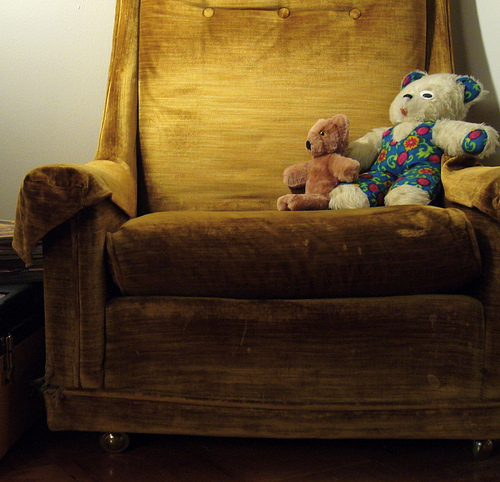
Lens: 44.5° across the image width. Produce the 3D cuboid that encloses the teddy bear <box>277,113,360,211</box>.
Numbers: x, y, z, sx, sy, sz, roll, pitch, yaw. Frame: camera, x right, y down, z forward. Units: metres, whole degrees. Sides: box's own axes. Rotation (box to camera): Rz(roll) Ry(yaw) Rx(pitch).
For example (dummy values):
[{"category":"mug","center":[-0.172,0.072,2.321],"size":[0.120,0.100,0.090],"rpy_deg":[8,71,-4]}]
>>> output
[{"category":"teddy bear","center":[0.170,-0.191,1.574],"size":[0.175,0.275,0.261],"rpy_deg":[7,-4,-37]}]
